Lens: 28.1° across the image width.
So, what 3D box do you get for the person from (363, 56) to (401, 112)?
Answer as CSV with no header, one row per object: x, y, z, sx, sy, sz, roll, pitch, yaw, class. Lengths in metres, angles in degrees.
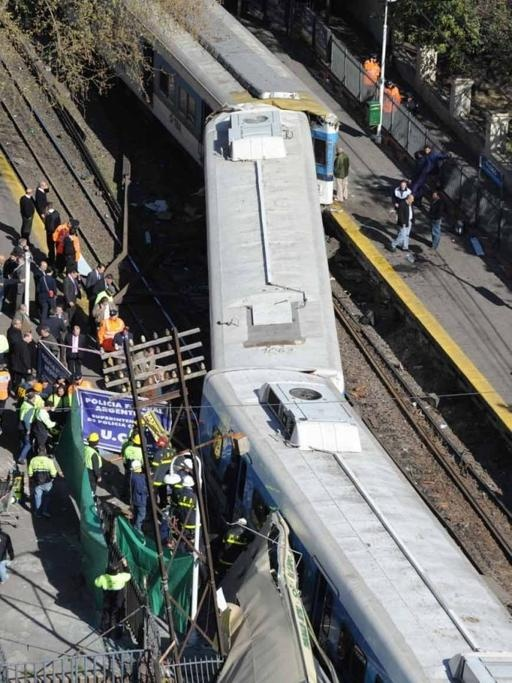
3.455,-7.311,29.085,0.800,1.372,2.449,-10,39,-1,person

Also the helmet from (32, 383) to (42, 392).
-3.481,0.741,16.454,0.132,0.130,0.173,0,24,-25,helmet
